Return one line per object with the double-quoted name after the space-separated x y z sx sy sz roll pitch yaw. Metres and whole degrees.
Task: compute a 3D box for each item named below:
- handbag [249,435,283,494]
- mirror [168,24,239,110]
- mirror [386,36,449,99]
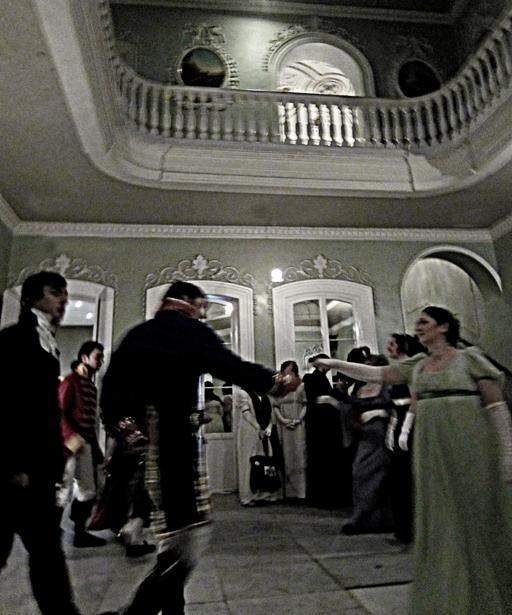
0.098 1.708 5.497 0.376 0.604 0.241 0 -11 -15 "handbag"
-0.824 -3.790 7.781 1.094 0.149 1.437 1 -26 -5 "mirror"
2.602 -3.802 8.311 0.168 0.652 0.693 -30 2 -24 "mirror"
